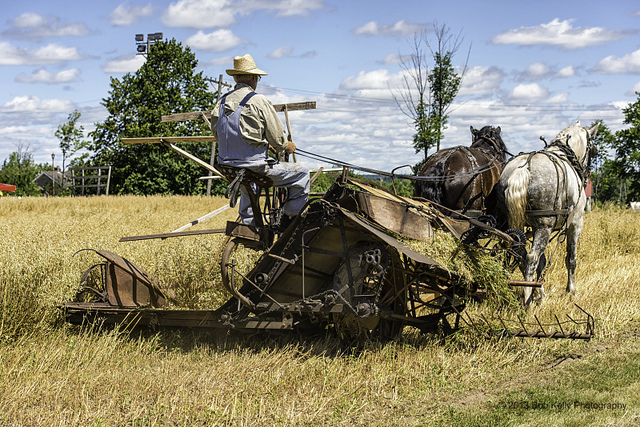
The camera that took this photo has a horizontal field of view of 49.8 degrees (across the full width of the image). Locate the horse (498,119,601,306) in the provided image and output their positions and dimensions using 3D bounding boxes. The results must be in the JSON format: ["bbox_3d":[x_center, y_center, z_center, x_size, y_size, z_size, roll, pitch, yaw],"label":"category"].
[{"bbox_3d":[4.695,0.026,13.954,1.513,3.548,4.874,1,4,36],"label":"horse"}]

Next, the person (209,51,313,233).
[{"bbox_3d":[-0.931,-1.059,10.654,1.519,2.737,0.854,1,3,-10],"label":"person"}]

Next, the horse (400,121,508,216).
[{"bbox_3d":[2.717,-0.853,12.952,1.569,1.739,2.759,2,3,14],"label":"horse"}]
